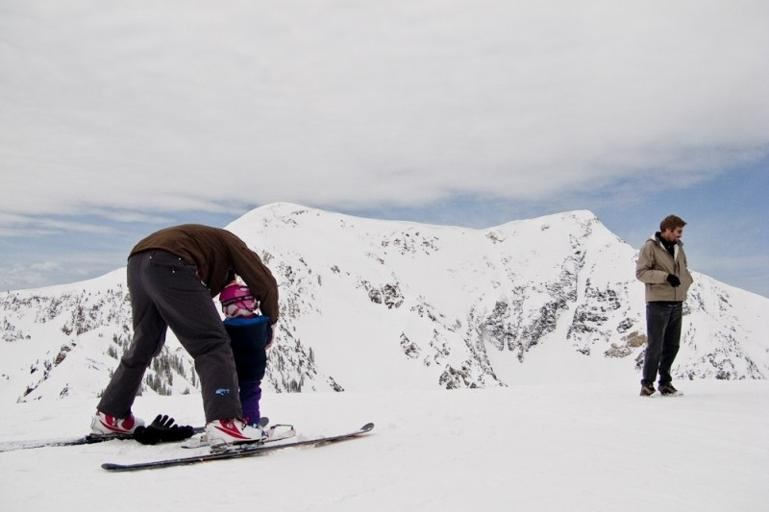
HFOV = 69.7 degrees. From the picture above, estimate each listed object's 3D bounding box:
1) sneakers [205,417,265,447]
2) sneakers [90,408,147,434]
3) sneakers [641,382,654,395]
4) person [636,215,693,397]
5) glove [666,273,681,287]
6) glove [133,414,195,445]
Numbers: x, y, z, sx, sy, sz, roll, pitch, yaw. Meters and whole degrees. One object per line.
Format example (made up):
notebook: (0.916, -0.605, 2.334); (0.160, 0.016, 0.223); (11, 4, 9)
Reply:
sneakers: (-1.568, 1.818, 5.882); (0.644, 0.286, 0.230); (1, 19, -16)
sneakers: (-2.840, 1.869, 6.110); (0.658, 0.291, 0.246); (2, 3, -17)
sneakers: (3.673, 1.861, 7.691); (0.191, 0.178, 0.220); (0, -1, 25)
person: (4.014, 0.682, 7.931); (0.707, 2.564, 0.905); (0, -1, 29)
glove: (4.079, 0.355, 7.763); (0.259, 0.190, 0.082); (2, -1, -33)
glove: (-2.410, 1.947, 6.131); (0.292, 0.157, 0.506); (37, 8, 27)
